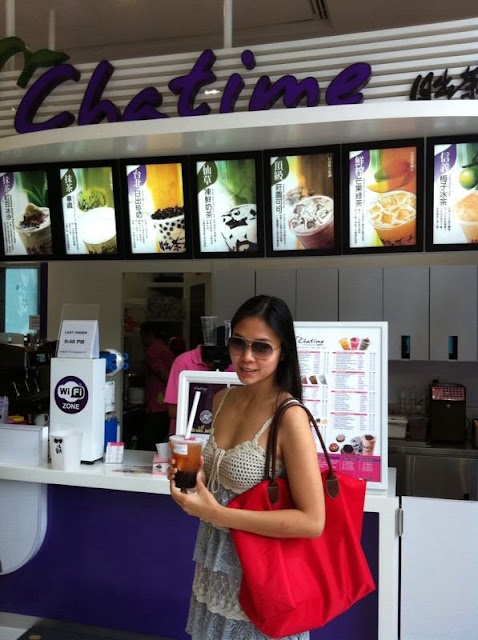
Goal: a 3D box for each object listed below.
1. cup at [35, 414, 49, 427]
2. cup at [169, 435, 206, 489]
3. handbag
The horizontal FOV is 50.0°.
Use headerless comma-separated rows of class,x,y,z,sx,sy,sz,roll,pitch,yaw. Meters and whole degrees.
cup,-1.108,0.562,2.875,0.070,0.058,0.298,-1,0,-20
cup,-0.120,0.315,1.151,0.106,0.140,0.102,1,-11,0
handbag,0.138,0.425,1.072,0.318,0.516,0.176,-1,-1,-9
